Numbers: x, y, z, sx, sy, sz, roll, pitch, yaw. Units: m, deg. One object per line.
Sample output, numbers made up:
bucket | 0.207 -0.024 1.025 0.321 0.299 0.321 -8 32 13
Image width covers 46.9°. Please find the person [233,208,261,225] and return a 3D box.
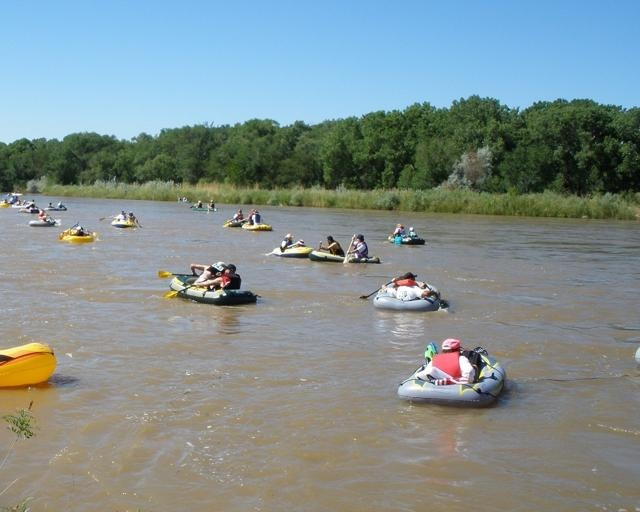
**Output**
person | -4.233 -2.417 43.910 1.746 0.661 1.022 4 4 42

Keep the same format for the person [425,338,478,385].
person | 2.137 1.840 12.415 0.831 0.412 1.087 -8 20 23

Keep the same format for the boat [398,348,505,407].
boat | 2.299 2.053 12.180 1.879 0.677 0.917 -3 11 -22

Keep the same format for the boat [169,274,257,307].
boat | -2.971 0.946 18.932 1.672 0.335 0.975 4 4 38

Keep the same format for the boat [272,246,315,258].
boat | -1.012 -0.178 29.033 2.008 0.448 0.556 8 12 34

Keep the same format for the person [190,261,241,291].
person | -2.719 0.530 19.223 1.053 0.401 0.698 1 4 38

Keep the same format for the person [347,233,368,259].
person | 1.459 -0.398 28.022 0.924 0.886 0.781 -9 8 -20

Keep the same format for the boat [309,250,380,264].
boat | 0.789 0.072 27.875 1.762 0.288 0.939 6 -2 4

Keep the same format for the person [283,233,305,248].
person | -1.231 -0.656 29.754 1.155 0.707 0.612 -2 1 21

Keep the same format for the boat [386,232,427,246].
boat | 4.131 -0.810 34.728 1.634 0.528 0.983 4 10 18
